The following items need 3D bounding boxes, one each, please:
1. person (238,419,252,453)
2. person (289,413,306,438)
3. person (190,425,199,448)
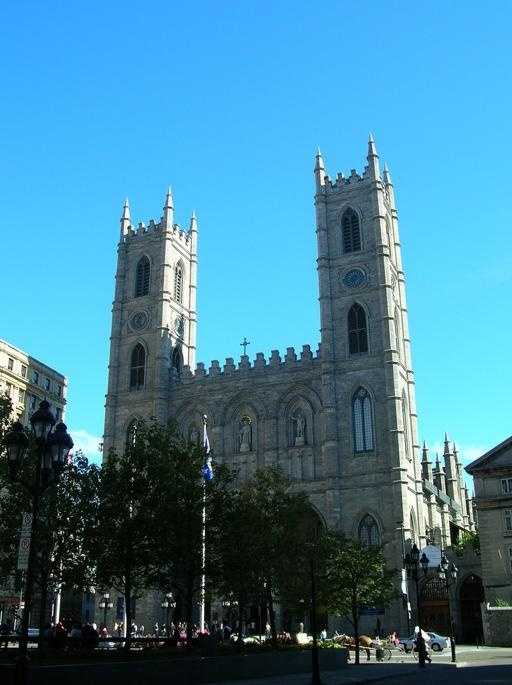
[{"bbox_3d":[-0.962,7.187,55.963,1.264,3.057,0.681,-15,-24,30],"label":"person"},{"bbox_3d":[3.141,6.257,54.180,1.274,2.269,0.621,-18,-26,35],"label":"person"},{"bbox_3d":[-5.062,7.482,58.446,0.676,1.561,1.282,4,-21,-15],"label":"person"}]
